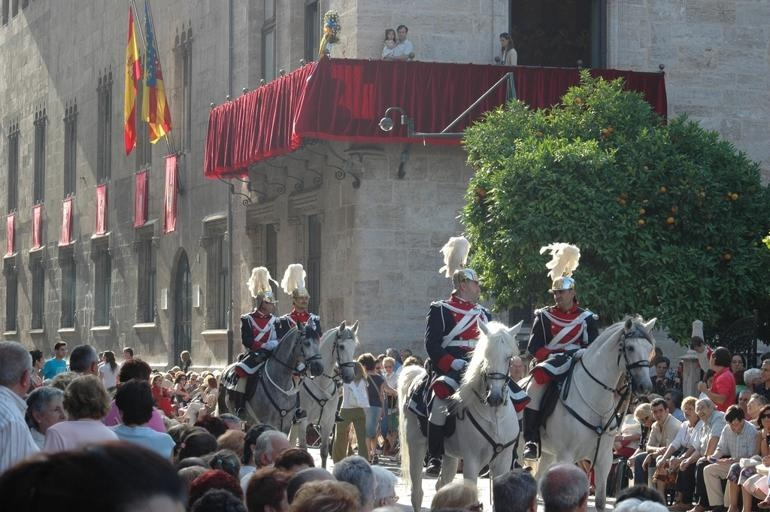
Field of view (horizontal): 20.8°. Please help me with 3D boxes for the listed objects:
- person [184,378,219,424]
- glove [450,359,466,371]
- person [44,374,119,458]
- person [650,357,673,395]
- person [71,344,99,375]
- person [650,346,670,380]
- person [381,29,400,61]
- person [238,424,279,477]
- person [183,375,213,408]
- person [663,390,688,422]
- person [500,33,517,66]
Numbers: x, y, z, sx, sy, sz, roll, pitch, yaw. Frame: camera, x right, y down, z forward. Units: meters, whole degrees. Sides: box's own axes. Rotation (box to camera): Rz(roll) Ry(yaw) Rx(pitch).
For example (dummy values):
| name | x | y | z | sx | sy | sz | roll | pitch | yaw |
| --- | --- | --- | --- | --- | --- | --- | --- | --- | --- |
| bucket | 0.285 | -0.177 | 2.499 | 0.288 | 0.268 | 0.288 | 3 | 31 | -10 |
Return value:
| name | x | y | z | sx | sy | sz | roll | pitch | yaw |
| --- | --- | --- | --- | --- | --- | --- | --- | --- | --- |
| person | -5.114 | 4.153 | 59.116 | 0.882 | 1.455 | 0.719 | 10 | -7 | -32 |
| glove | 1.778 | 2.649 | 50.859 | 0.283 | 0.256 | 0.277 | -1 | 3 | -29 |
| person | -6.803 | 3.638 | 47.017 | 1.598 | 1.482 | 0.836 | 2 | 7 | -2 |
| person | 7.609 | 3.324 | 57.908 | 0.865 | 1.112 | 0.397 | 0 | -10 | 9 |
| person | -7.140 | 2.473 | 49.994 | 0.584 | 0.699 | 0.720 | 5 | 8 | 0 |
| person | 7.596 | 2.997 | 58.114 | 0.724 | 0.878 | 0.927 | 0 | -8 | 4 |
| person | 0.143 | -6.335 | 63.145 | 0.439 | 0.912 | 0.331 | -1 | -4 | 0 |
| person | -2.941 | 4.698 | 49.288 | 0.994 | 1.395 | 1.454 | 0 | 1 | -17 |
| person | -5.364 | 3.957 | 60.692 | 0.522 | 0.782 | 1.358 | -8 | -16 | -25 |
| person | 7.682 | 3.892 | 55.122 | 0.642 | 1.157 | 0.950 | -2 | -8 | 1 |
| person | 3.735 | -6.264 | 63.774 | 0.478 | 1.147 | 1.144 | -1 | -4 | 1 |
